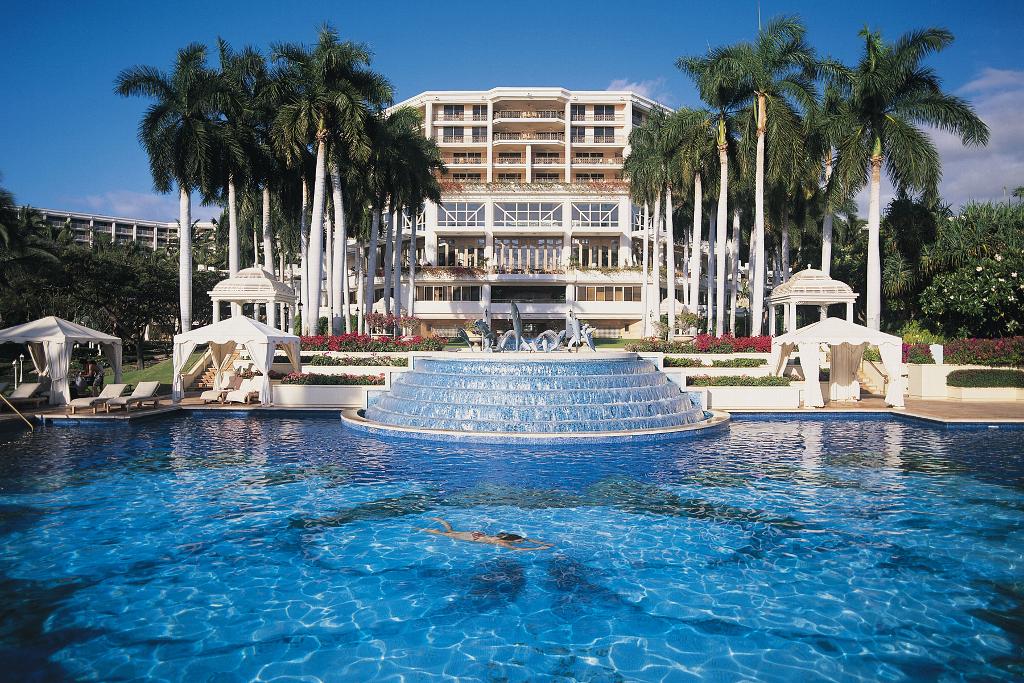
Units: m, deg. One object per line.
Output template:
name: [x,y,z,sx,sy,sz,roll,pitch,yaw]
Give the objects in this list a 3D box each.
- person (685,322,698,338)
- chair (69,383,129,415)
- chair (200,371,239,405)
person: [10.966,-0.778,47.425,0.824,0.811,1.509,-1,-6,13]
chair: [-16.243,2.200,30.448,1.138,1.093,1.941,-2,-1,10]
chair: [-13.016,1.963,34.555,1.201,1.305,1.766,0,-1,7]
